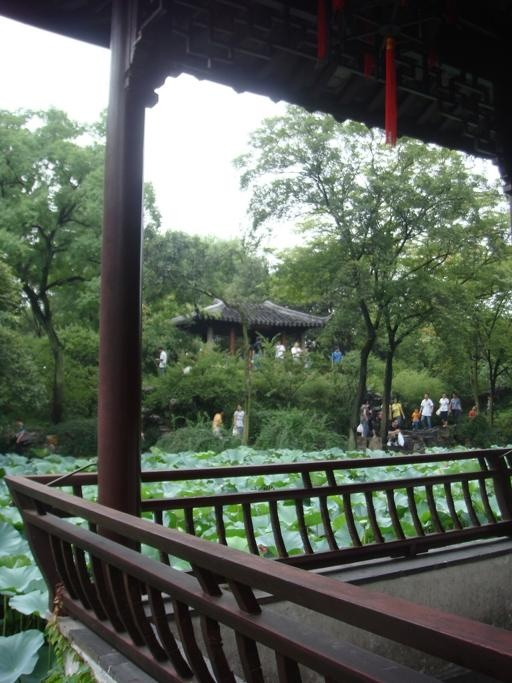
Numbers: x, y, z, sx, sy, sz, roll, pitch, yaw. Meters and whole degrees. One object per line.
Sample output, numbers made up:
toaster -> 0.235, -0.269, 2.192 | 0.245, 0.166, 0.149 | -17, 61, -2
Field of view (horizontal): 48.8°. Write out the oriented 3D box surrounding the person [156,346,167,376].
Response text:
person -> -2.568, 0.538, 15.311 | 0.273, 0.706, 0.750 | -2, 2, -10

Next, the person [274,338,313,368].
person -> 1.129, 0.463, 16.517 | 0.847, 0.574, 0.828 | 5, 23, 8

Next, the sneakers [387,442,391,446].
sneakers -> 3.657, 2.800, 15.345 | 0.106, 0.129, 0.040 | -1, -6, -15

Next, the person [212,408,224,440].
person -> -0.888, 1.954, 13.206 | 0.286, 0.712, 0.260 | -2, -17, 5
